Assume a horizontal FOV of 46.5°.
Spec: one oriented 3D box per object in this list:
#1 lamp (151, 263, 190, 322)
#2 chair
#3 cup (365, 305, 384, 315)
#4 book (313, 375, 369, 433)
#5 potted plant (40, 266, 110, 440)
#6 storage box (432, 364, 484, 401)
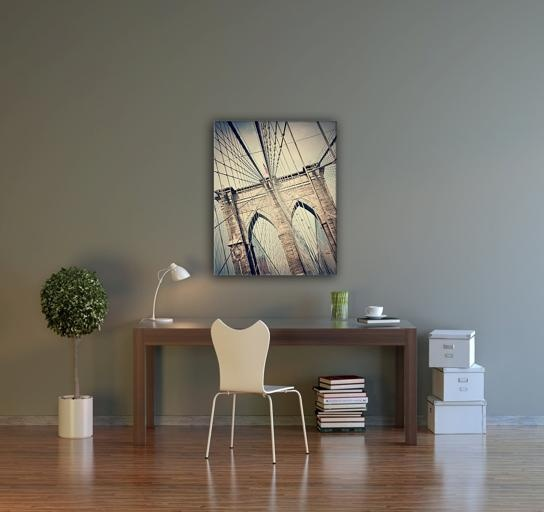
[{"bbox_3d":[-0.707,0.247,4.414,0.286,0.394,0.396,-1,2,-9],"label":"lamp"},{"bbox_3d":[-0.161,0.820,3.724,0.389,0.811,0.427,2,-7,3],"label":"chair"},{"bbox_3d":[0.706,0.374,4.308,0.078,0.070,0.072,-3,-5,0],"label":"cup"},{"bbox_3d":[0.478,1.018,4.290,0.330,0.418,0.315,0,-6,1],"label":"book"},{"bbox_3d":[-1.327,0.636,4.261,0.408,1.116,0.496,-1,3,-21],"label":"potted plant"},{"bbox_3d":[1.258,0.853,4.281,0.215,0.173,0.249,-1,-7,3],"label":"storage box"}]
